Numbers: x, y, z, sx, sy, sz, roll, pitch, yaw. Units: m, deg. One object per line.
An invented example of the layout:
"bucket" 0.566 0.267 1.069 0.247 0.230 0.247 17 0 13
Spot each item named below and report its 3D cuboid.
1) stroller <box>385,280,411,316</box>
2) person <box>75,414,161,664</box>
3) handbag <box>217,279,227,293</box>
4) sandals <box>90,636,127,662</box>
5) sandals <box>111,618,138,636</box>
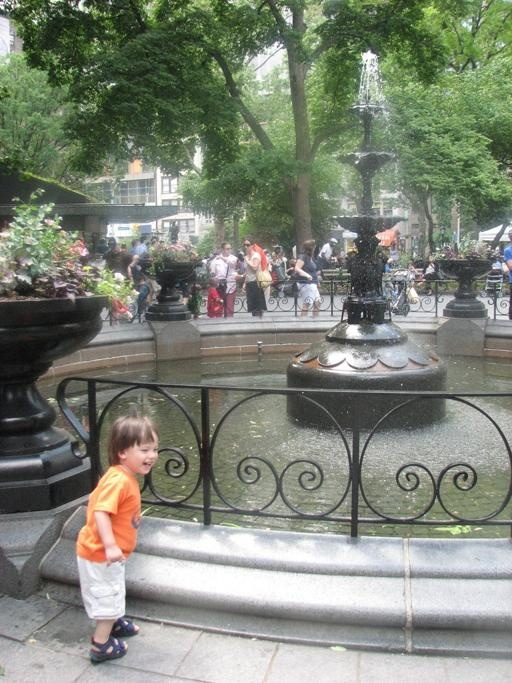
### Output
"stroller" 3.433 -1.076 15.557 0.514 0.879 1.359 -1 5 12
"person" -0.598 0.784 2.643 0.324 0.935 0.393 0 5 18
"handbag" -0.747 -1.246 14.074 0.237 0.327 0.183 5 29 6
"sandals" -0.583 1.220 2.575 0.160 0.104 0.060 -6 24 -18
"sandals" -0.555 1.200 2.714 0.137 0.057 0.046 -3 7 -19
